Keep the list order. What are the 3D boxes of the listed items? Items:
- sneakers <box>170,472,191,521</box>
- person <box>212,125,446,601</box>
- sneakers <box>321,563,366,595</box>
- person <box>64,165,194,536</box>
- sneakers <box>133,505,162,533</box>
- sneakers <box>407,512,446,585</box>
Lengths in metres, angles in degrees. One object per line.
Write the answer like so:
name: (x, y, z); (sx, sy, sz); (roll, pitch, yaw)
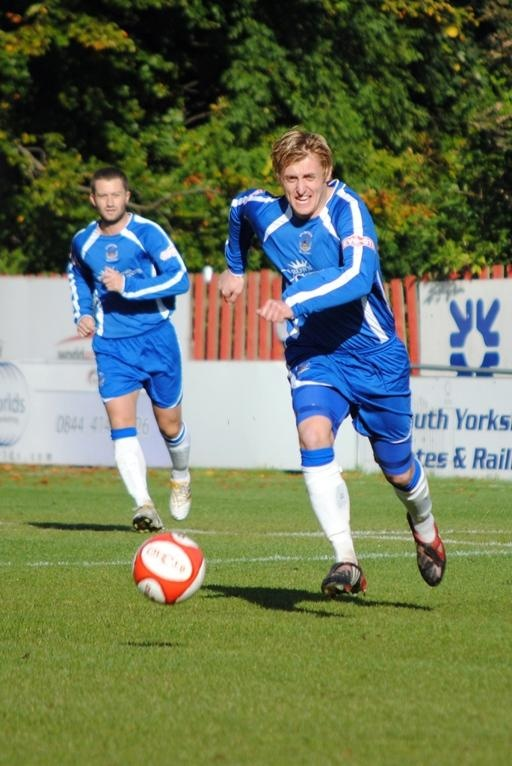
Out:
sneakers: (-0.469, 0.726, 7.706); (0.109, 0.343, 0.143); (-2, -4, 1)
person: (0.327, -0.015, 5.022); (0.874, 2.048, 1.339); (-5, 10, -1)
sneakers: (0.337, 0.745, 4.608); (0.087, 0.115, 0.231); (0, -2, 10)
person: (-0.684, -0.105, 7.043); (0.699, 2.270, 1.318); (-6, 10, -4)
sneakers: (-0.581, 0.740, 6.561); (0.083, 0.115, 0.233); (-2, -5, 6)
sneakers: (0.765, 0.722, 5.331); (0.100, 0.316, 0.134); (-14, -12, 12)
